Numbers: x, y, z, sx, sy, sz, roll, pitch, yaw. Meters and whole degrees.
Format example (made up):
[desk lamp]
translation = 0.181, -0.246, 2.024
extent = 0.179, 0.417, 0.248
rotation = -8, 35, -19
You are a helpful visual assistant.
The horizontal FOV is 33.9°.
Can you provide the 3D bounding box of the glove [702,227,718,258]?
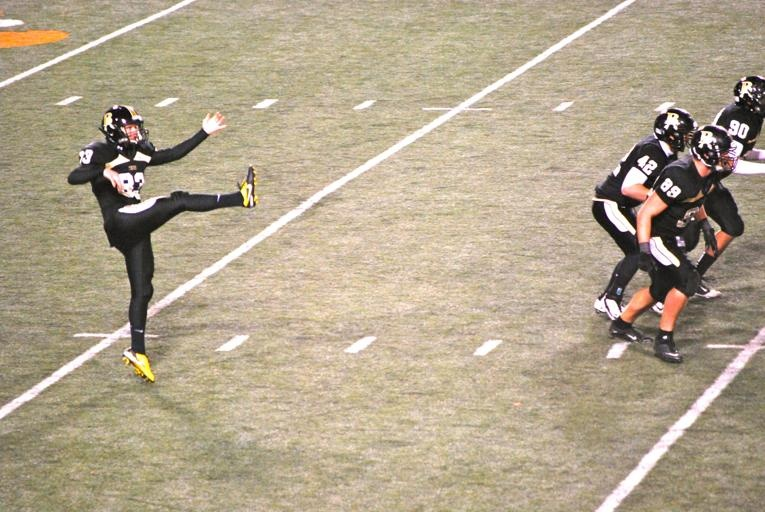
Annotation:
[glove]
translation = 3.541, -0.176, 13.619
extent = 0.156, 0.295, 0.147
rotation = -9, 1, -38
